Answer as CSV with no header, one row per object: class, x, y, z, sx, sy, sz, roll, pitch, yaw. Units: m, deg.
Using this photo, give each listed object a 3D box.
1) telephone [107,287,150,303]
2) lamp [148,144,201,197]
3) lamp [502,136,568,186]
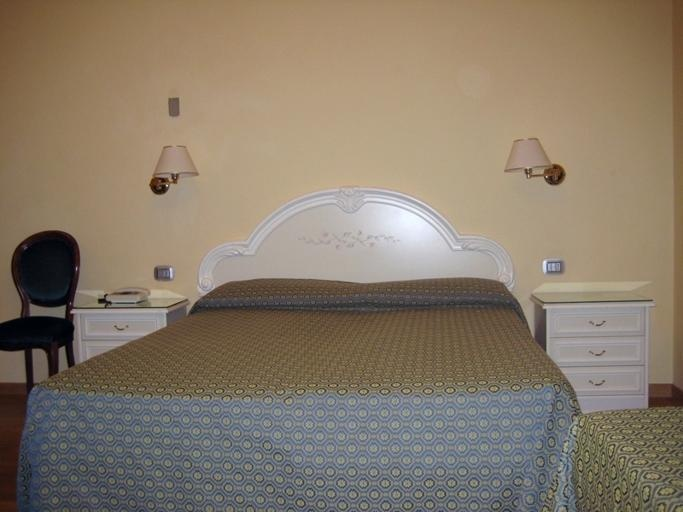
telephone,-1.672,0.299,4.292,0.171,0.063,0.164,1,7,3
lamp,-1.364,-0.690,4.388,0.384,0.323,0.357,-6,0,30
lamp,1.511,-0.729,4.292,0.482,0.306,0.327,4,-6,-42
